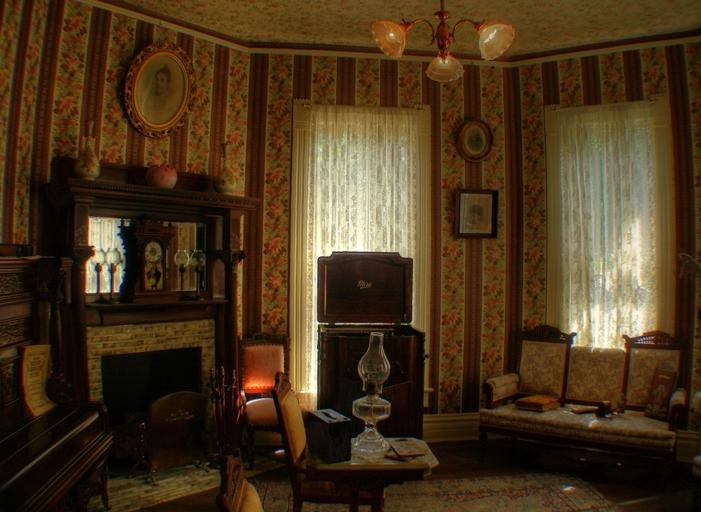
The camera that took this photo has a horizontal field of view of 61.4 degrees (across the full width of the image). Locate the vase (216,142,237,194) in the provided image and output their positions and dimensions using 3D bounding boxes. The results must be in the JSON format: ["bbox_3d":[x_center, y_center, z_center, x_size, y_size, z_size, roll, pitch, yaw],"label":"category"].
[{"bbox_3d":[-1.181,-0.851,5.679,0.179,0.499,0.505,-1,8,-11],"label":"vase"}]

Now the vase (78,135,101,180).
[{"bbox_3d":[-2.172,-0.793,4.903,0.184,0.369,0.192,-2,2,15],"label":"vase"}]

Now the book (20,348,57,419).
[{"bbox_3d":[-2.190,0.872,4.125,0.205,0.459,0.201,-4,9,-31],"label":"book"}]

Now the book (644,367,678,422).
[{"bbox_3d":[2.852,1.292,5.467,0.195,0.447,0.047,11,7,16],"label":"book"}]

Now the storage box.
[{"bbox_3d":[0.144,0.825,5.379,0.899,1.716,0.824,0,-1,-2],"label":"storage box"}]

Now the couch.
[{"bbox_3d":[2.231,1.364,5.678,1.884,1.320,0.878,-4,-6,45],"label":"couch"}]

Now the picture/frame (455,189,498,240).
[{"bbox_3d":[1.304,-0.437,6.235,0.486,0.570,0.045,0,-1,-9],"label":"picture/frame"}]
